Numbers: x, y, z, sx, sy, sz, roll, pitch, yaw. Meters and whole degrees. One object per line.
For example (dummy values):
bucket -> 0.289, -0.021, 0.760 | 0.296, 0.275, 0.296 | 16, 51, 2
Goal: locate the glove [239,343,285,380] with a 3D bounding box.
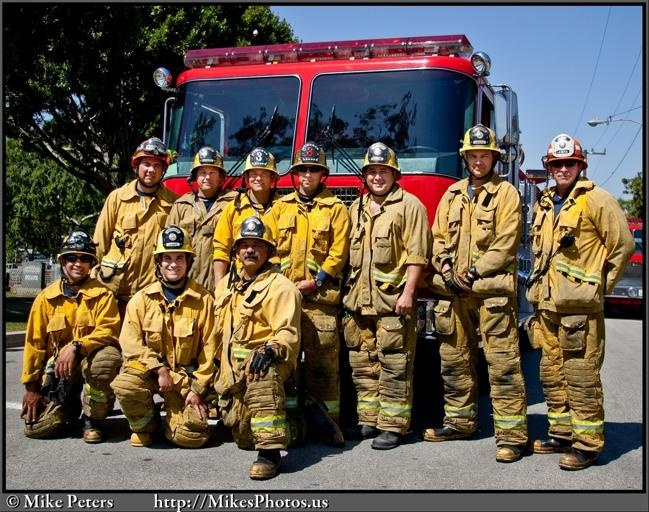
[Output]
glove -> -0.488, 0.872, 4.916 | 0.266, 0.288, 0.129 | 2, -4, -3

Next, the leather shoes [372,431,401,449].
leather shoes -> 0.566, 1.693, 5.488 | 0.113, 0.108, 0.276 | -5, -12, 39

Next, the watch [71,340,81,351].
watch -> -2.288, 0.833, 5.558 | 0.078, 0.074, 0.082 | -3, 2, 2

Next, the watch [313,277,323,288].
watch -> -0.049, 0.259, 5.642 | 0.087, 0.093, 0.059 | 3, -1, -22

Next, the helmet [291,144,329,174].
helmet -> -0.120, -0.959, 5.861 | 0.280, 0.208, 0.330 | 2, 0, 3

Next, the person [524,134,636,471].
person -> 2.239, 0.367, 5.311 | 0.905, 2.903, 0.547 | -1, -5, 33

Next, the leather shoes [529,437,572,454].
leather shoes -> 2.049, 1.720, 5.468 | 0.376, 0.151, 0.147 | 2, 1, 1

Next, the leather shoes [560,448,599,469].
leather shoes -> 2.189, 1.744, 5.138 | 0.409, 0.156, 0.143 | 14, -13, -35

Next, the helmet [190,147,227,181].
helmet -> -1.253, -1.007, 6.462 | 0.301, 0.232, 0.387 | 0, -5, -1

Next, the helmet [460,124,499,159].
helmet -> 1.472, -1.123, 5.688 | 0.362, 0.295, 0.272 | 0, -4, 17

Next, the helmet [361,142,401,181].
helmet -> 0.553, -0.923, 5.818 | 0.296, 0.243, 0.399 | 1, -7, 12

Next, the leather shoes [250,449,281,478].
leather shoes -> -0.454, 1.659, 4.780 | 0.293, 0.201, 0.189 | 3, -4, -23

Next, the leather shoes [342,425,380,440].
leather shoes -> 0.360, 1.693, 5.794 | 0.328, 0.139, 0.140 | 5, -5, -7

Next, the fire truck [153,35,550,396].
fire truck -> -0.050, 0.441, 9.498 | 4.478, 4.362, 7.074 | -1, -22, -2

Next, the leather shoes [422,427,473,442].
leather shoes -> 1.198, 1.689, 5.807 | 0.460, 0.190, 0.166 | 4, -4, -4

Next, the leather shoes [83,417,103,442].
leather shoes -> -2.133, 1.602, 5.547 | 0.173, 0.209, 0.291 | 3, -4, -21

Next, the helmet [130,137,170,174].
helmet -> -1.856, -1.159, 6.489 | 0.302, 0.246, 0.373 | 7, -29, -18

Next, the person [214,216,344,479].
person -> -0.569, 0.721, 5.204 | 0.602, 2.120, 0.942 | 4, -5, -26

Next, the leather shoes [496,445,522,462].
leather shoes -> 1.621, 1.725, 5.227 | 0.227, 0.128, 0.181 | 1, -4, 13

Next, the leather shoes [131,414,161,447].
leather shoes -> -1.630, 1.627, 5.527 | 0.142, 0.169, 0.396 | 2, -6, 9

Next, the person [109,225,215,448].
person -> -1.439, 0.723, 5.483 | 0.897, 2.010, 0.394 | 2, -4, -13
